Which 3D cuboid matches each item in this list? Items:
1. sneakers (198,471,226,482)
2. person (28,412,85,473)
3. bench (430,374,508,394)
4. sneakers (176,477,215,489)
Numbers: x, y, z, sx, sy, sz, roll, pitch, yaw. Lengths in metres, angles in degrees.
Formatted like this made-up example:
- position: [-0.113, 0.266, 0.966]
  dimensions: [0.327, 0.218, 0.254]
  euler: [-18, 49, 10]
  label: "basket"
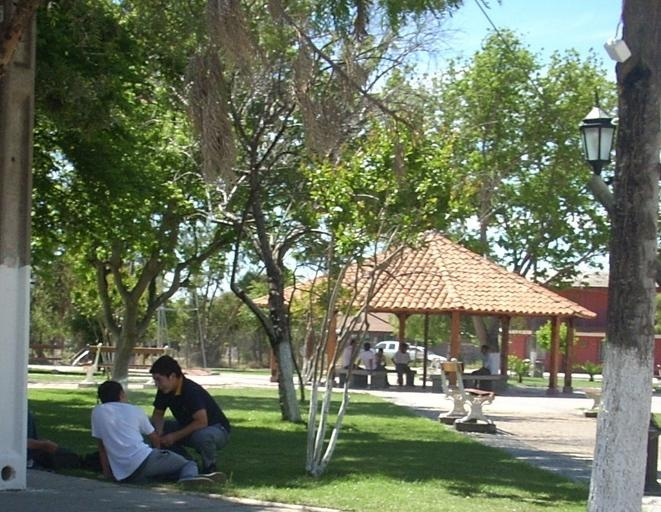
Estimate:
- position: [-1.654, 3.001, 14.460]
  dimensions: [0.407, 0.134, 0.157]
  euler: [9, -11, -28]
  label: "sneakers"
- position: [-3.957, 2.624, 15.015]
  dimensions: [0.837, 0.787, 0.521]
  euler: [7, -10, -23]
  label: "person"
- position: [3.993, 3.652, 30.377]
  dimensions: [1.415, 0.468, 1.420]
  euler: [0, -4, 6]
  label: "bench"
- position: [-1.820, 3.056, 14.313]
  dimensions: [0.322, 0.104, 0.196]
  euler: [7, -8, -24]
  label: "sneakers"
